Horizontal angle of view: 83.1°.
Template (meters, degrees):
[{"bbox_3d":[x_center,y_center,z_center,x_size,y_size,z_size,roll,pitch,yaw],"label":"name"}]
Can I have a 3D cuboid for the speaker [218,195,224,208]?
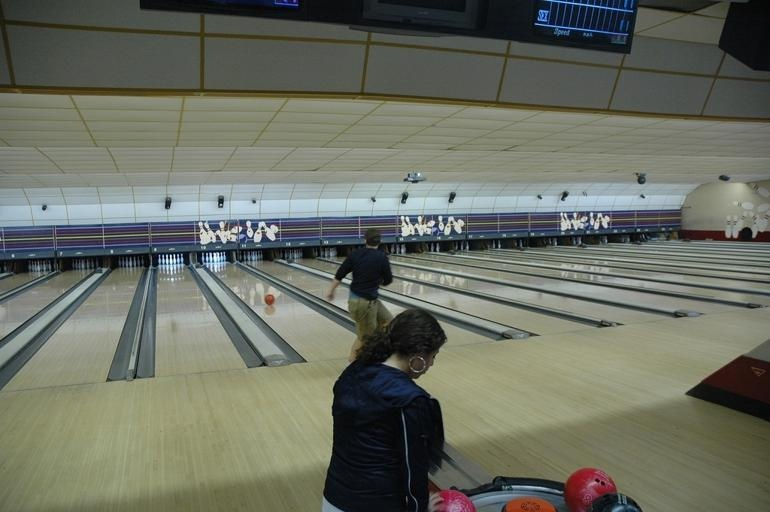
[{"bbox_3d":[-4.748,-1.582,12.565,0.179,0.335,0.203,-8,8,-24],"label":"speaker"}]

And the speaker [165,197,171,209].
[{"bbox_3d":[-6.023,-1.487,12.115,0.184,0.323,0.233,-9,8,-32],"label":"speaker"}]

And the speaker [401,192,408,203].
[{"bbox_3d":[0.618,-1.952,14.395,0.249,0.351,0.518,-4,6,3],"label":"speaker"}]

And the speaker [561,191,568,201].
[{"bbox_3d":[6.736,-2.310,16.549,0.126,0.293,0.254,23,6,35],"label":"speaker"}]

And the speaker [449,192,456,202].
[{"bbox_3d":[2.294,-2.058,15.080,0.230,0.348,0.408,-4,6,8],"label":"speaker"}]
